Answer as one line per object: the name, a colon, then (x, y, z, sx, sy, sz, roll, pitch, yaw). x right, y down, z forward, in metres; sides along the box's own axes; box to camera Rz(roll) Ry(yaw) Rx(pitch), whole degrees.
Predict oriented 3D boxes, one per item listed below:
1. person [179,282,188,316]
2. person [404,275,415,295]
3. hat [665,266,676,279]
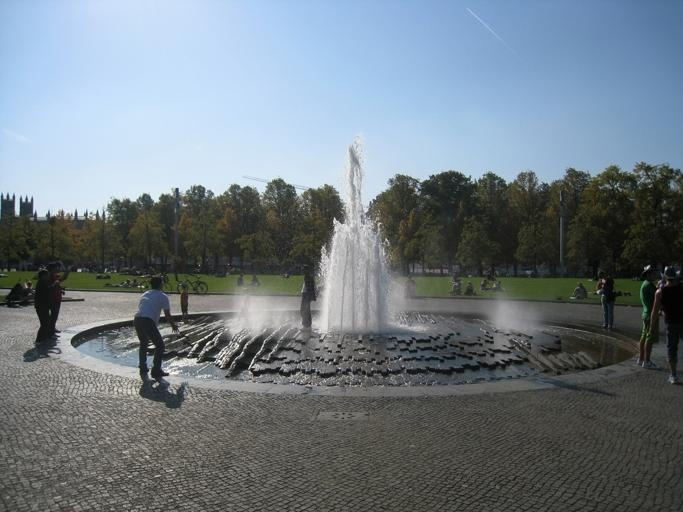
person: (-5.773, 1.475, 19.513, 0.195, 1.076, 0.779, 0, 3, -10)
person: (4.075, 1.598, 31.462, 0.516, 1.068, 1.090, 1, 3, 4)
hat: (6.376, 0.274, 10.259, 0.193, 0.249, 0.492, 2, 4, 32)
